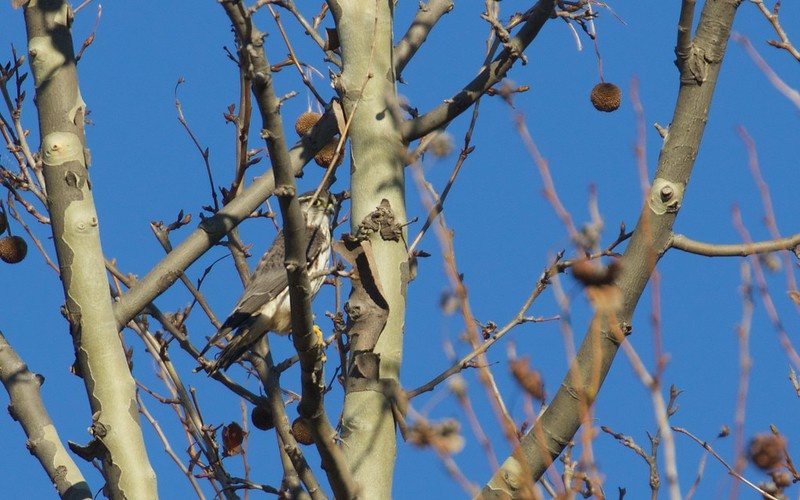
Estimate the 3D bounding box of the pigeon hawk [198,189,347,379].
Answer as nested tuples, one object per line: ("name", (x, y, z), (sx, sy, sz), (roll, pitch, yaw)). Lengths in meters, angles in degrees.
("pigeon hawk", (-0.763, 0.212, 10.730), (0.723, 1.702, 1.240), (1, -89, -13))
